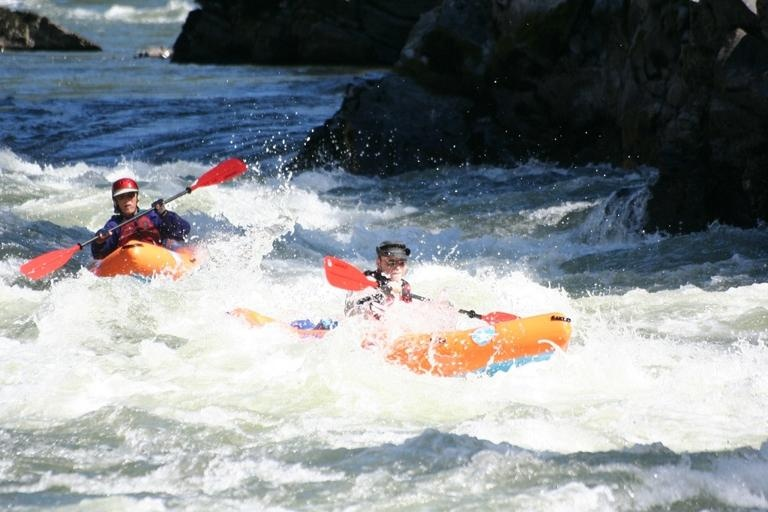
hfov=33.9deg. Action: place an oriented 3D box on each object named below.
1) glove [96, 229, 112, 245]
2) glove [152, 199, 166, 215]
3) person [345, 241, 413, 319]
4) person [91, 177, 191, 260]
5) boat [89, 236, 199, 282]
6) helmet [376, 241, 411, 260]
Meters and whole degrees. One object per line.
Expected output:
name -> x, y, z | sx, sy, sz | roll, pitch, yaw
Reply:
glove -> -4.538, -0.331, 20.341 | 0.096, 0.230, 0.195 | 52, 53, -12
glove -> -3.671, -0.828, 20.533 | 0.185, 0.241, 0.080 | -19, 90, -30
person -> -0.062, 0.188, 18.705 | 0.664, 0.439, 1.911 | 7, 22, 13
person -> -3.988, -0.665, 20.603 | 1.240, 0.704, 1.574 | -13, 20, -12
boat -> -3.808, 0.112, 20.377 | 1.700, 0.643, 0.703 | -16, 56, -8
helmet -> 0.137, -0.084, 18.919 | 0.470, 0.354, 0.289 | -10, 56, -3
